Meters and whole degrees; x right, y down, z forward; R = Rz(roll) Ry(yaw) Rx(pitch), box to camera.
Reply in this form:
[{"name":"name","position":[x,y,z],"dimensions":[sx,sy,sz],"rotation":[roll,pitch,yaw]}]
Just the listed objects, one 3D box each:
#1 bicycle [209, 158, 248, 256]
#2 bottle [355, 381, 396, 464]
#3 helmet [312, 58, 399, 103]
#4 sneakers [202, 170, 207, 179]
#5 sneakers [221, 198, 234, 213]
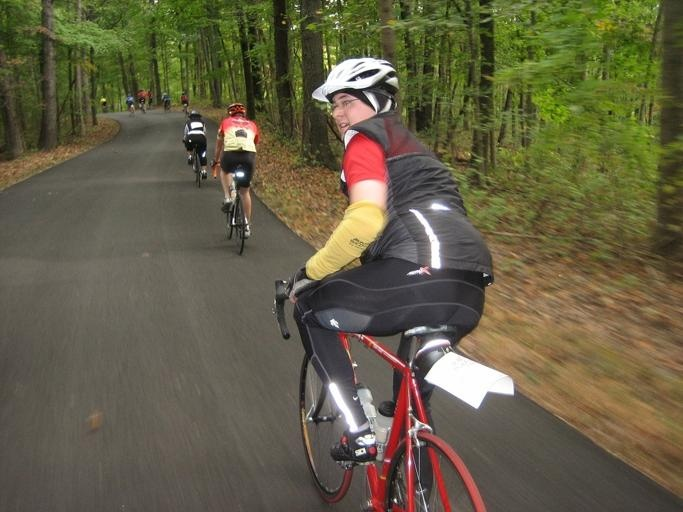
[{"name":"bicycle","position":[-2.046,-0.899,9.307],"dimensions":[0.644,0.936,1.530],"rotation":[5,18,-16]},{"name":"bottle","position":[0.141,1.106,3.366],"dimensions":[0.161,0.325,0.568],"rotation":[0,34,-15]},{"name":"helmet","position":[0.123,-1.138,3.307],"dimensions":[0.365,0.201,0.291],"rotation":[0,9,-3]},{"name":"sneakers","position":[-4.027,-2.375,14.410],"dimensions":[0.124,0.224,0.298],"rotation":[-8,20,-24]},{"name":"sneakers","position":[-2.341,-1.041,10.077],"dimensions":[0.165,0.208,0.463],"rotation":[10,14,-21]}]
